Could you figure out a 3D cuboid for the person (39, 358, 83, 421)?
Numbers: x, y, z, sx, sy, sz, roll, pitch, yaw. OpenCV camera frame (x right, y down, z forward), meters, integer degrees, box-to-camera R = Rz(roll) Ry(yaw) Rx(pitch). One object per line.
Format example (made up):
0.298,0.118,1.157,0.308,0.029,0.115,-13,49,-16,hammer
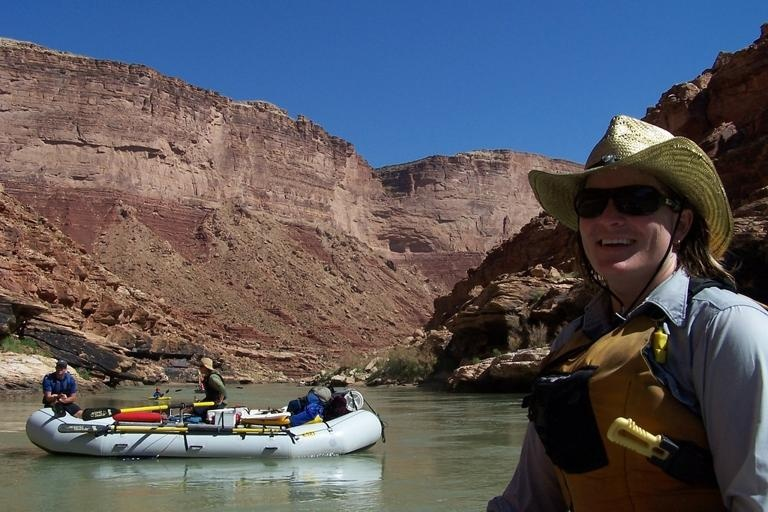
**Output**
-5.568,2.302,13.201,0.633,0.932,1.322,3,2,-34,person
